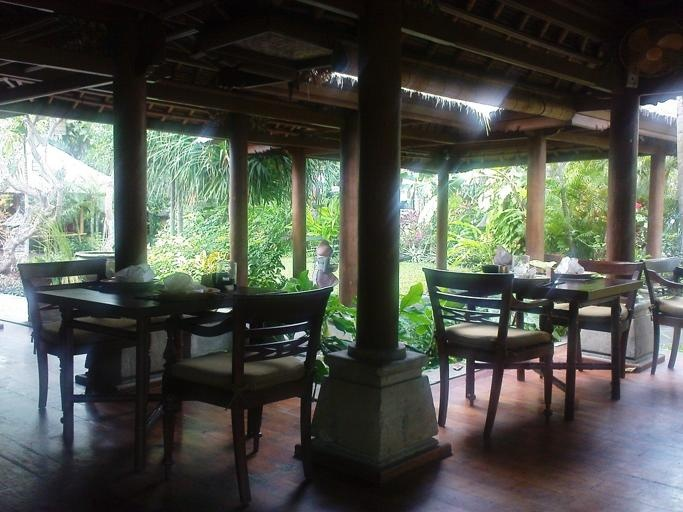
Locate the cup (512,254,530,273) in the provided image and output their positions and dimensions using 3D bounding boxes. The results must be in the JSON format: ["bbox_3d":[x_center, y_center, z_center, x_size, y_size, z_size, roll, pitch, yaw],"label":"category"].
[{"bbox_3d":[1.287,0.057,3.859,0.133,0.153,0.136,0,0,0],"label":"cup"}]

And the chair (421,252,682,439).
[{"bbox_3d":[1.402,0.488,3.855,0.937,0.961,1.725,0,0,45],"label":"chair"}]
